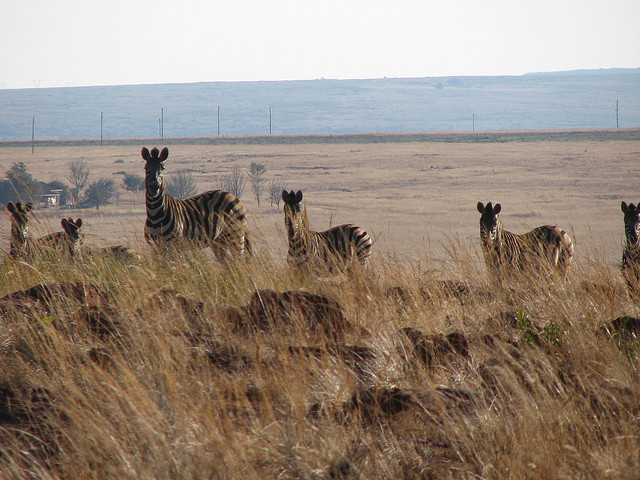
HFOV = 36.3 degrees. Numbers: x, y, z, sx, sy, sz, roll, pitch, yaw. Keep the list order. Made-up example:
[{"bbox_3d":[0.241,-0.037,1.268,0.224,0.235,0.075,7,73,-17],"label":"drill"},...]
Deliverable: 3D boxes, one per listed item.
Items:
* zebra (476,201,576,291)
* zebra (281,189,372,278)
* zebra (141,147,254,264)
[{"bbox_3d":[3.422,0.267,16.346,2.048,1.653,0.550,0,2,-32],"label":"zebra"},{"bbox_3d":[0.002,0.170,15.981,0.651,2.088,2.302,1,2,37],"label":"zebra"},{"bbox_3d":[-2.020,-0.502,15.858,1.379,1.861,2.871,-4,-6,17],"label":"zebra"}]
